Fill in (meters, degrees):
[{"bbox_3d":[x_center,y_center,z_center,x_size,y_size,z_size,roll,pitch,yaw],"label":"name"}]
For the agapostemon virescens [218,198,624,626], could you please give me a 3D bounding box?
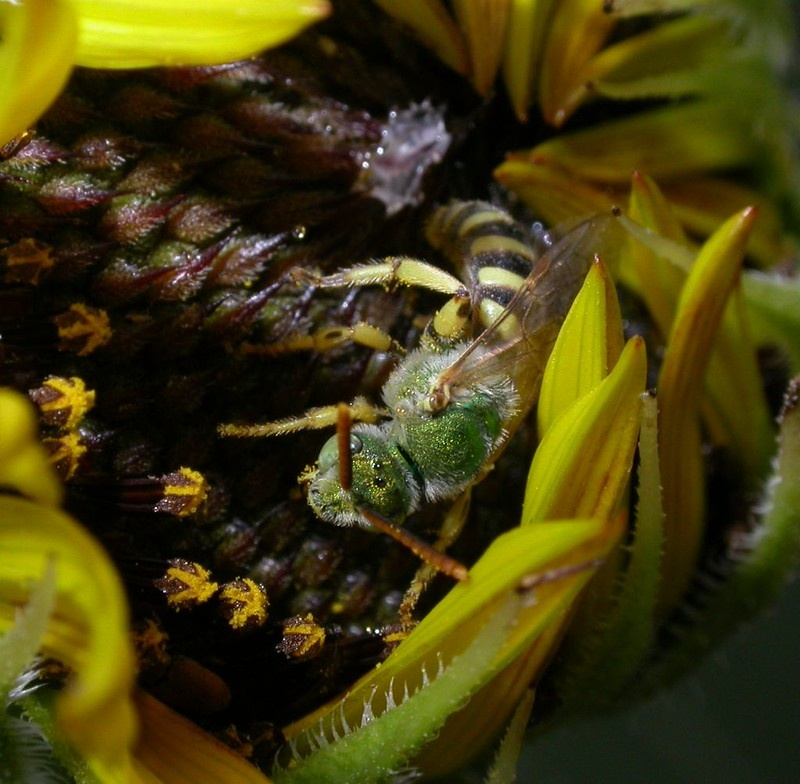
[{"bbox_3d":[0.035,-0.014,1.464,0.570,0.522,0.320,-1,19,-7],"label":"agapostemon virescens"}]
